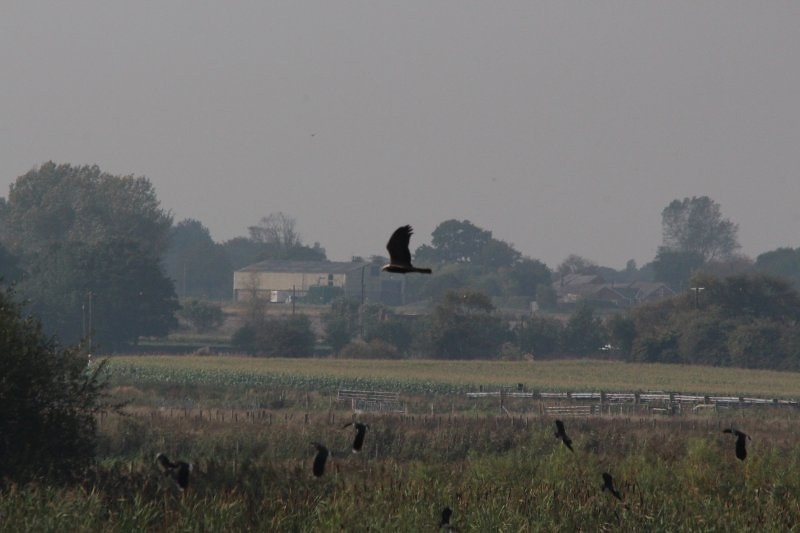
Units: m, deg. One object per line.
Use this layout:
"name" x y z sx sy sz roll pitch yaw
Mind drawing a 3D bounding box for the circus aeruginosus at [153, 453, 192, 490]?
"circus aeruginosus" -22.233 20.506 191.344 3.019 3.929 1.384 -1 13 -6

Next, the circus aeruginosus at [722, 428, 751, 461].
"circus aeruginosus" 34.956 18.445 198.693 3.640 4.007 1.255 0 -1 12

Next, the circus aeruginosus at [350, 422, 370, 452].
"circus aeruginosus" -3.825 16.893 191.409 1.864 3.488 1.351 -6 -13 40

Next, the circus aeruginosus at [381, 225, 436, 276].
"circus aeruginosus" 1.092 -1.100 217.785 5.968 2.108 10.724 1 -57 2
